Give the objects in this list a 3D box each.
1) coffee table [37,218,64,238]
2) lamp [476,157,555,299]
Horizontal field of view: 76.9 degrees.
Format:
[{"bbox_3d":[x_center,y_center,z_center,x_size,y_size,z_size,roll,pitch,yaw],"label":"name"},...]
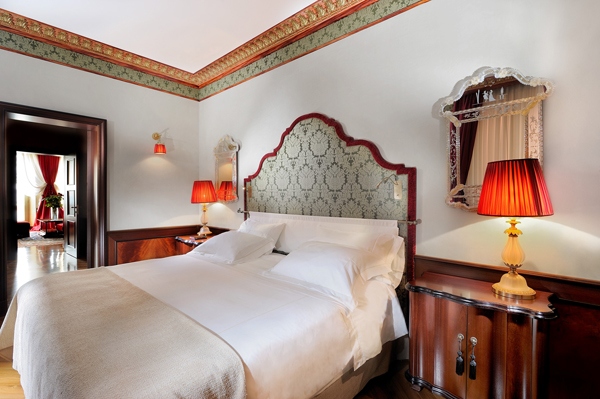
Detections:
[{"bbox_3d":[-6.782,0.792,10.343,0.523,0.336,0.530,1,1,-21],"label":"coffee table"},{"bbox_3d":[1.836,0.232,3.221,0.565,1.183,0.241,1,1,22],"label":"lamp"}]
